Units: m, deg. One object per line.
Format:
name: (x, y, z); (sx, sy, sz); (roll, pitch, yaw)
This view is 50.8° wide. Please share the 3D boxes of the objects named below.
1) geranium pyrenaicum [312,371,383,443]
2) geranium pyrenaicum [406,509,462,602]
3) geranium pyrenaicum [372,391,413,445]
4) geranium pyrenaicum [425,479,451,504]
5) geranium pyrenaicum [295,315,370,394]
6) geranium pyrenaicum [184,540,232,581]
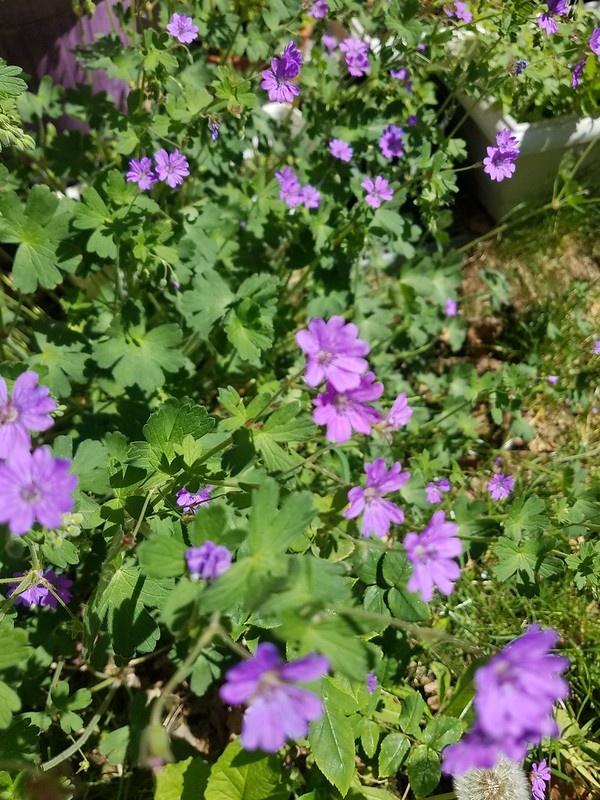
geranium pyrenaicum: (0.107, 0.016, 1.406); (0.157, 0.155, 0.062); (10, 10, -33)
geranium pyrenaicum: (0.213, 0.290, 1.149); (0.145, 0.153, 0.044); (4, 1, -40)
geranium pyrenaicum: (0.267, 0.044, 1.738); (0.143, 0.141, 0.063); (11, 33, -1)
geranium pyrenaicum: (0.452, 0.309, 2.128); (0.082, 0.089, 0.037); (-9, -4, -41)
geranium pyrenaicum: (0.053, -0.113, 1.378); (0.154, 0.165, 0.073); (24, -5, -30)
geranium pyrenaicum: (-0.152, 0.250, 1.040); (0.067, 0.058, 0.043); (-25, 19, -6)
